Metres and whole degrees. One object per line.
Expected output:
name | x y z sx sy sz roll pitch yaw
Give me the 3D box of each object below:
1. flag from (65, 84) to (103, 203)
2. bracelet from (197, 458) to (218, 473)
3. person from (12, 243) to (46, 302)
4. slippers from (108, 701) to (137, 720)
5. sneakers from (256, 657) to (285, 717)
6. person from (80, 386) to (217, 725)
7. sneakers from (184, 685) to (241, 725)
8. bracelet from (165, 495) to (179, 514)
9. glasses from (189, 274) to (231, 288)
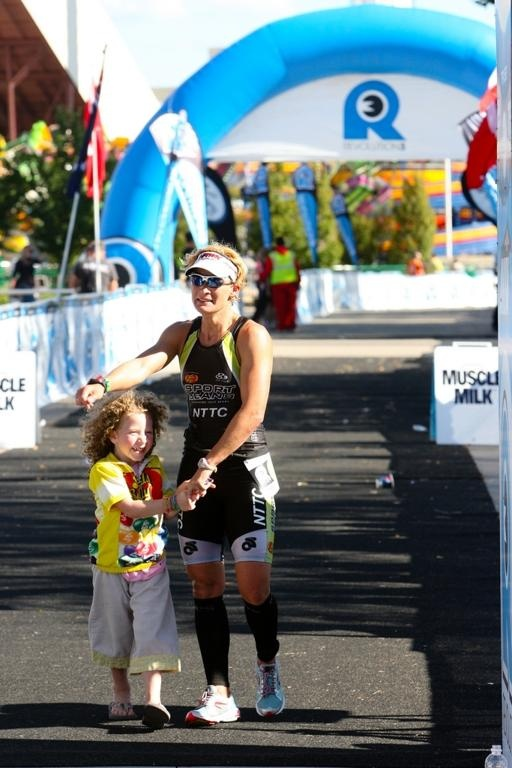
flag | -2.811 -3.977 20.437 0.593 1.828 0.905 -2 2 -7
bracelet | -0.169 0.275 4.250 0.063 0.040 0.061 15 -29 -21
person | -4.813 -2.316 26.022 0.556 1.282 2.867 -2 2 -10
slippers | -0.483 1.184 4.532 0.123 0.044 0.033 -2 -4 14
sneakers | 0.052 1.103 4.534 0.081 0.094 0.218 -3 18 -1
person | -0.422 0.617 4.466 0.363 1.195 0.515 -2 2 -8
sneakers | -0.146 1.154 4.526 0.090 0.126 0.248 -6 -10 36
bracelet | -0.285 0.413 4.288 0.022 0.060 0.047 -16 16 -3
glasses | -0.180 -0.366 4.459 0.163 0.055 0.068 -1 2 21
